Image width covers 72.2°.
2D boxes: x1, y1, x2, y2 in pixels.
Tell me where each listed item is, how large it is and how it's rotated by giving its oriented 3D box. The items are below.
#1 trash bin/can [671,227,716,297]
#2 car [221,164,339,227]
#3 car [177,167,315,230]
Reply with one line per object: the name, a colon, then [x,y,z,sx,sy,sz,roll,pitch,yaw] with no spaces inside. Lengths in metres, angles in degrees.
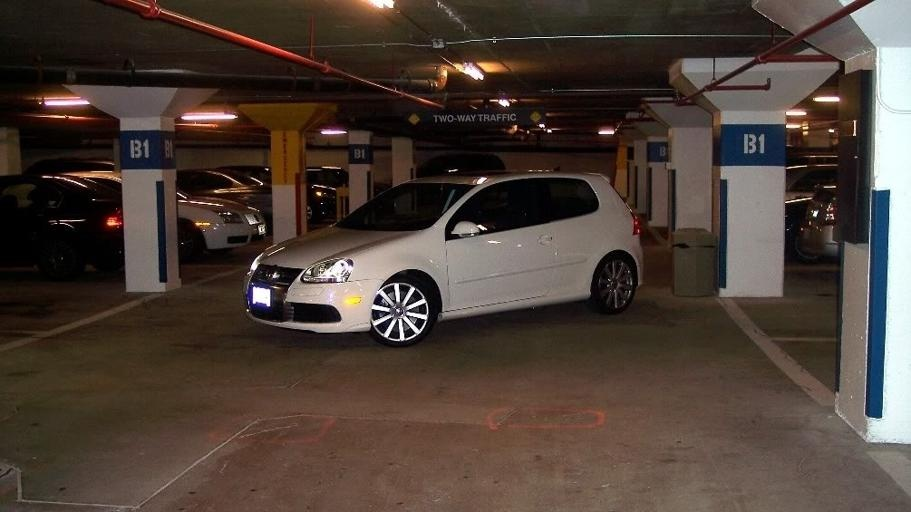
trash bin/can: [4.960,0.198,13.580,1.311,1.315,1.324,0,-2,30]
car: [-8.519,-2.762,29.006,6.565,2.585,2.925,1,8,11]
car: [-8.982,-2.335,24.810,6.228,1.943,2.373,2,7,5]
